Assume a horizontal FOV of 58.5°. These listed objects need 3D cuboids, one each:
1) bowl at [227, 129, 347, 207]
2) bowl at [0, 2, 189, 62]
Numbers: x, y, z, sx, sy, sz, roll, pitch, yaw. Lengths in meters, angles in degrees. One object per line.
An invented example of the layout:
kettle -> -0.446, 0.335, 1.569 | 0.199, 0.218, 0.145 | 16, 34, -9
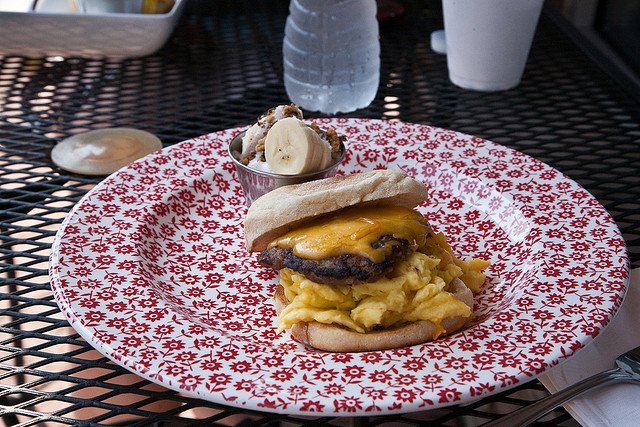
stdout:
bowl -> -0.196, -0.187, 2.499 | 0.567, 0.217, 0.408 | -2, 29, -6
bowl -> -1.248, -0.981, 3.128 | 0.702, 0.133, 0.496 | 2, 29, 2
